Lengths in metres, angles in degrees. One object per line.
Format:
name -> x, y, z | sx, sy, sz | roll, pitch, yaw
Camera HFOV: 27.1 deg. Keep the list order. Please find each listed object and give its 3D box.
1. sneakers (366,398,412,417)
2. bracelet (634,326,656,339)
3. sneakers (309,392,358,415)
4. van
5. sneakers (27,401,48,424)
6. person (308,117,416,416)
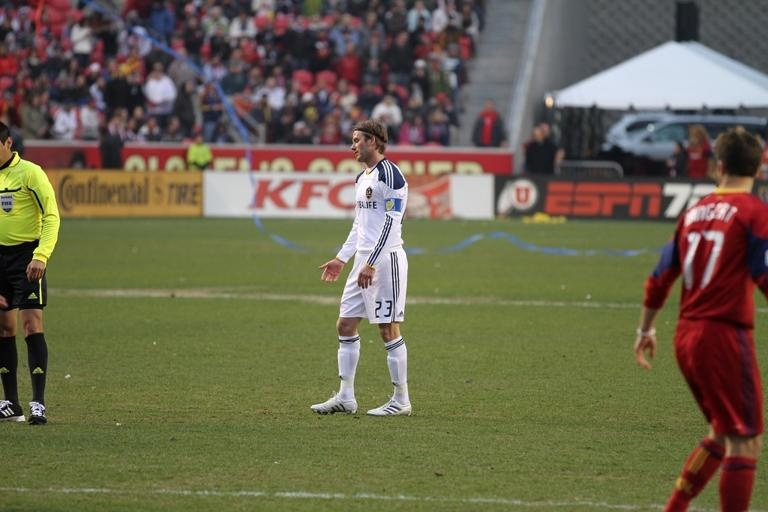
sneakers -> 0.059, 1.757, 18.913 | 0.578, 0.196, 0.192 | 0, -7, -1
bracelet -> 2.849, 0.809, 17.147 | 0.234, 0.077, 0.217 | 1, -1, -15
sneakers -> -0.613, 1.718, 18.977 | 0.543, 0.212, 0.218 | 2, -5, -2
van -> 4.820, -1.804, 26.257 | 2.249, 0.872, 1.141 | 5, 11, 11
sneakers -> -4.059, 1.766, 18.514 | 0.208, 0.252, 0.269 | 2, 6, -11
person -> -0.168, 0.133, 18.848 | 1.003, 3.390, 0.513 | 3, 6, -2
